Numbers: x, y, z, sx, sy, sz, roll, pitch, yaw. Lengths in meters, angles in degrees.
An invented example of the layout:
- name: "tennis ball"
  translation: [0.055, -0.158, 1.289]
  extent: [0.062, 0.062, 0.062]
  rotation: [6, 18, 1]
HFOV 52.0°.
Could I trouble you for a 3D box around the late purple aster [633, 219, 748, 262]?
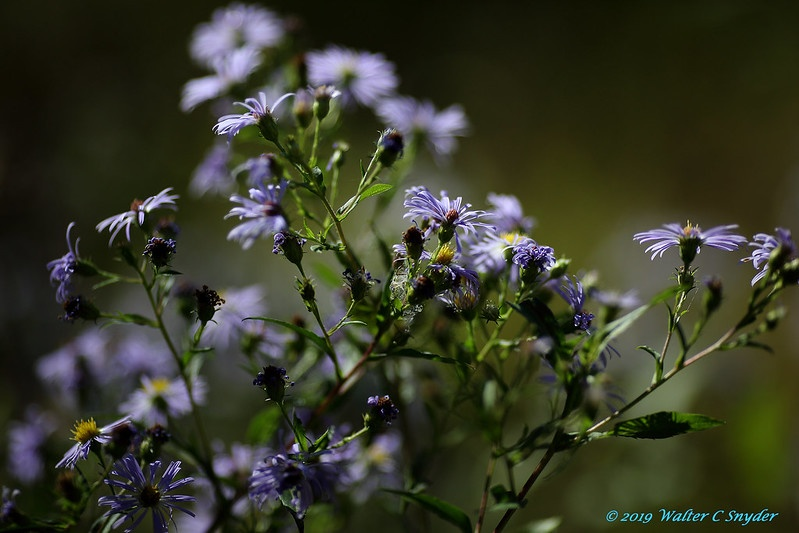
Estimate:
- name: "late purple aster"
  translation: [0.715, -0.064, 1.993]
  extent: [0.148, 0.074, 0.146]
  rotation: [1, -2, -39]
